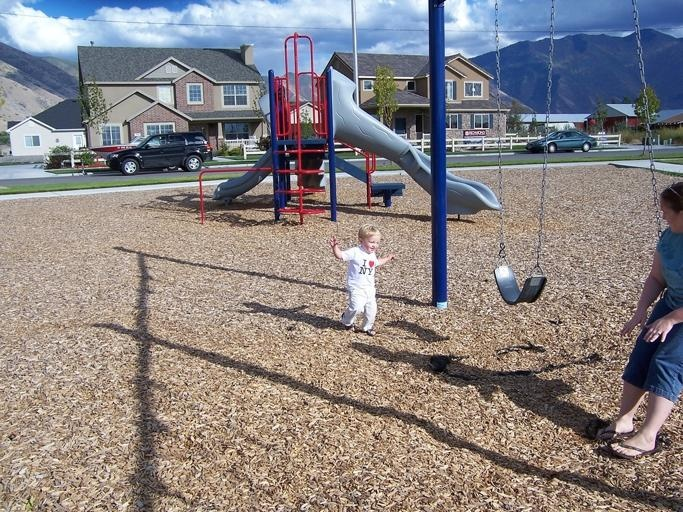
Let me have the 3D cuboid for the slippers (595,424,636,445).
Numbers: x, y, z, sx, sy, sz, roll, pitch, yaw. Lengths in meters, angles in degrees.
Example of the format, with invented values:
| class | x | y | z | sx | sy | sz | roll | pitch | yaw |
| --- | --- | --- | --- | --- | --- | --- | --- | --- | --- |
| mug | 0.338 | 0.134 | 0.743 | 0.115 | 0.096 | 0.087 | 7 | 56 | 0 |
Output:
| class | x | y | z | sx | sy | sz | roll | pitch | yaw |
| --- | --- | --- | --- | --- | --- | --- | --- | --- | --- |
| slippers | 1.825 | 1.176 | 4.051 | 0.232 | 0.051 | 0.120 | -6 | 32 | 11 |

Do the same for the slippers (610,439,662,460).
| class | x | y | z | sx | sy | sz | roll | pitch | yaw |
| --- | --- | --- | --- | --- | --- | --- | --- | --- | --- |
| slippers | 1.875 | 1.223 | 3.874 | 0.271 | 0.041 | 0.124 | -5 | 16 | 2 |

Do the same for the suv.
| class | x | y | z | sx | sy | sz | roll | pitch | yaw |
| --- | --- | --- | --- | --- | --- | --- | --- | --- | --- |
| suv | -7.560 | -4.206 | 25.485 | 4.085 | 1.354 | 1.778 | -2 | 10 | -21 |

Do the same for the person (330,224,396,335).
| class | x | y | z | sx | sy | sz | roll | pitch | yaw |
| --- | --- | --- | --- | --- | --- | --- | --- | --- | --- |
| person | 0.186 | 0.217 | 5.588 | 0.566 | 0.950 | 0.376 | -5 | 14 | -13 |

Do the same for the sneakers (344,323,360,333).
| class | x | y | z | sx | sy | sz | roll | pitch | yaw |
| --- | --- | --- | --- | --- | --- | --- | --- | --- | --- |
| sneakers | 0.109 | 0.673 | 5.671 | 0.182 | 0.067 | 0.057 | 13 | 10 | -5 |

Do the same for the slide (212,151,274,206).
| class | x | y | z | sx | sy | sz | roll | pitch | yaw |
| --- | --- | --- | --- | --- | --- | --- | --- | --- | --- |
| slide | -2.001 | -1.700 | 13.348 | 1.014 | 1.147 | 1.631 | -11 | 16 | -34 |
